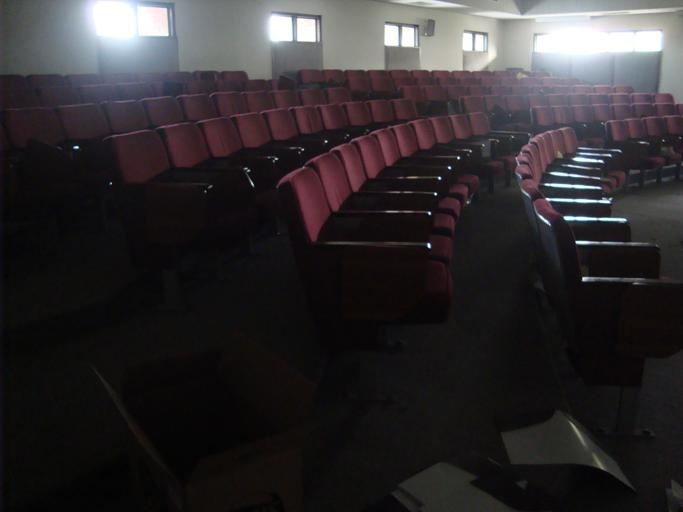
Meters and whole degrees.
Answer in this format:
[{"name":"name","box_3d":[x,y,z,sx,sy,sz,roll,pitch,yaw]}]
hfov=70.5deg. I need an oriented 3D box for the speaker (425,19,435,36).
[{"name":"speaker","box_3d":[2.454,-6.335,13.476,0.131,0.438,0.384,11,22,39]}]
